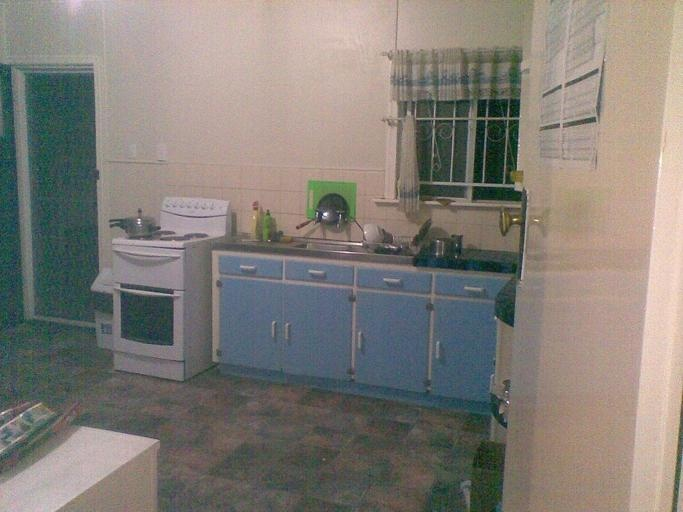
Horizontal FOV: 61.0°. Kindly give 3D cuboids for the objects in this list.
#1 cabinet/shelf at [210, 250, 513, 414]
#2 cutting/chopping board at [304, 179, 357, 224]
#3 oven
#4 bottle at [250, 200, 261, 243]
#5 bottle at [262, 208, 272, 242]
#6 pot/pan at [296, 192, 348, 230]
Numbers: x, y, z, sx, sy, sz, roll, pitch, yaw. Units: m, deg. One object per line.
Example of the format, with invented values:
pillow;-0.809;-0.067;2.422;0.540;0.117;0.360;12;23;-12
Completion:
cabinet/shelf;0.072;0.202;1.672;0.492;0.225;0.151;1;4;19
cutting/chopping board;-0.033;-0.185;1.897;0.170;0.127;0.113;-1;10;-3
oven;-0.608;0.236;1.874;0.236;0.395;0.229;5;12;13
bottle;-0.282;-0.118;1.915;0.032;0.122;0.030;0;10;0
bottle;-0.246;-0.103;1.909;0.037;0.099;0.067;-2;10;-6
pot/pan;-0.048;-0.146;1.905;0.153;0.130;0.083;9;12;20
